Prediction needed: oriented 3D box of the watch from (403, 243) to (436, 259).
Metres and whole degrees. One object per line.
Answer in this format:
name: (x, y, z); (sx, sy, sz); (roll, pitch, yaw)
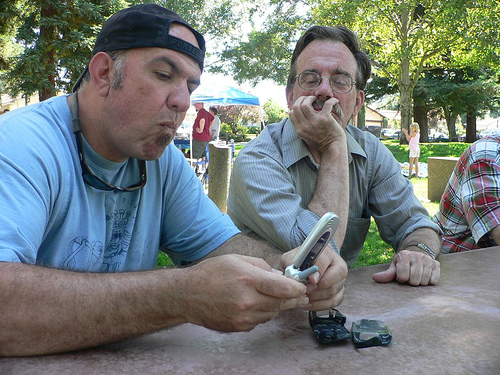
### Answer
watch: (0.919, 0.329, 2.120); (0.061, 0.089, 0.090); (1, -6, -27)

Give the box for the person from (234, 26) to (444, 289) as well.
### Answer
person: (0.499, -0.222, 2.475); (0.967, 1.502, 1.353); (1, -3, -23)

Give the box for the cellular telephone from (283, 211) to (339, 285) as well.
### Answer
cellular telephone: (0.209, 0.205, 1.389); (0.161, 0.264, 0.101); (2, 11, -3)
